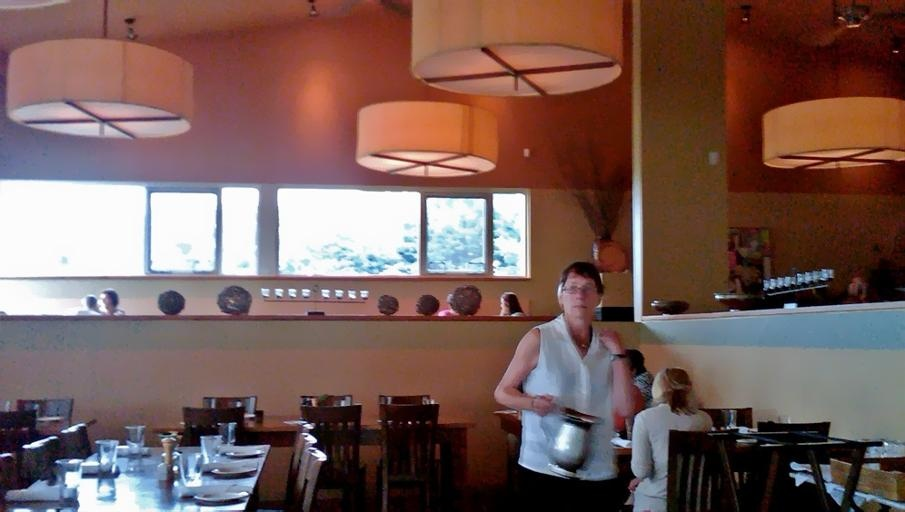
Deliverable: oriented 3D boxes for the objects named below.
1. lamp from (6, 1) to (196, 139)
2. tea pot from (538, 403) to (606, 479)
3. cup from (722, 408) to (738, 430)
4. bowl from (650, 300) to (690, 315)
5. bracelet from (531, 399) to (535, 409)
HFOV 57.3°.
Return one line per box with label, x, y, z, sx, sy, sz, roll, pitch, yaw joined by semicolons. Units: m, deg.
lamp;-3.641;-1.740;8.940;1.607;1.574;1.519;-1;-4;-15
tea pot;0.980;1.377;6.298;0.528;0.473;0.464;4;0;13
cup;2.559;1.495;7.609;0.159;0.216;0.152;0;0;0
bowl;2.369;0.565;9.040;0.393;0.156;0.502;-2;-3;16
bracelet;0.603;1.107;6.177;0.030;0.060;0.007;-4;-4;34
